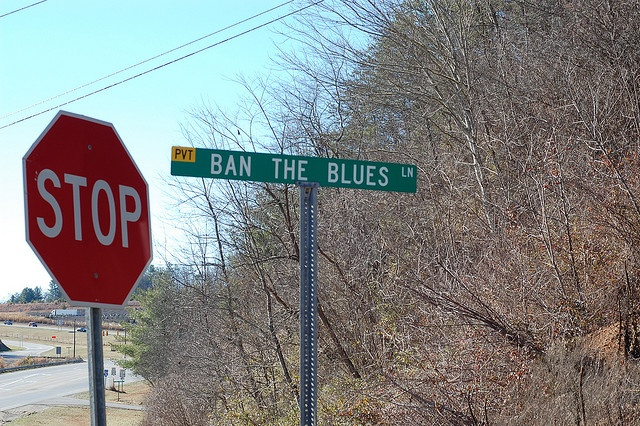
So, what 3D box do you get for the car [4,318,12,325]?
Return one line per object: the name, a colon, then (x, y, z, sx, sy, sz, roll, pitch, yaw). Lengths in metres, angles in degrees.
car: (-61.746, 21.667, 149.738, 2.229, 1.438, 1.120, 0, -8, 45)
